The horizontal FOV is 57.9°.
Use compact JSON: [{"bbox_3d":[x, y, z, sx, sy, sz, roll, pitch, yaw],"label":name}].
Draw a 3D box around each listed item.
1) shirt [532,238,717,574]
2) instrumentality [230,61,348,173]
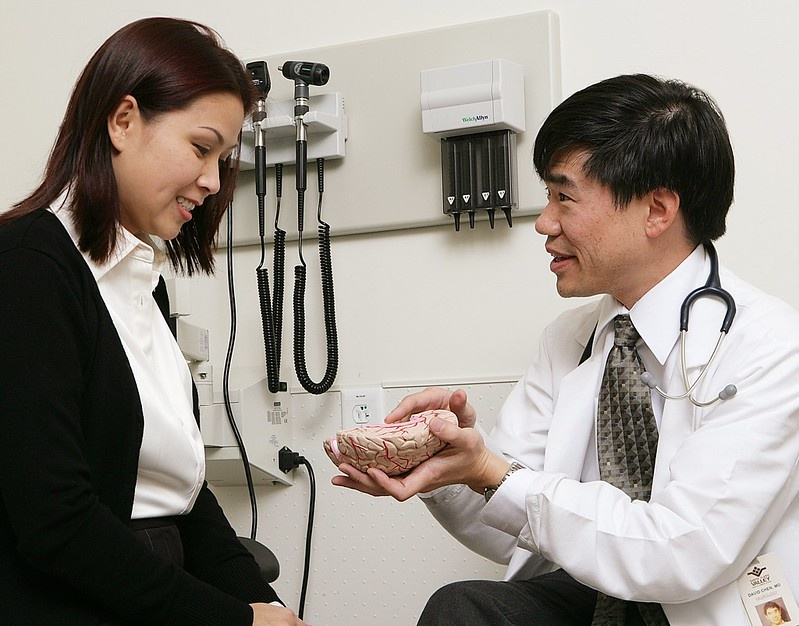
[{"bbox_3d":[0.463,0.159,1.385,0.164,0.639,0.419,16,-19,-30],"label":"shirt"},{"bbox_3d":[-0.292,-0.530,1.964,0.337,0.206,0.130,-7,-14,30],"label":"instrumentality"}]
